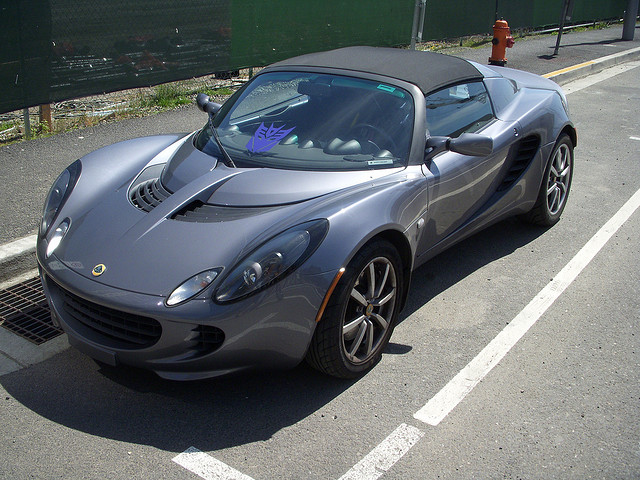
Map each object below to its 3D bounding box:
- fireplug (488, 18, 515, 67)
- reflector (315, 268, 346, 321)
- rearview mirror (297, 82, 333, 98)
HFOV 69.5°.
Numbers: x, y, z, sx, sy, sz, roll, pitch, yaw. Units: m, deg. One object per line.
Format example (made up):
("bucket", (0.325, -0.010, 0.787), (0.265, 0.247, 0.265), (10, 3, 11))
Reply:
("fireplug", (4.938, -5.404, 12.634), (0.685, 1.193, 0.530), (3, 24, 9))
("reflector", (0.069, 0.331, 2.847), (0.251, 0.289, 0.017), (-22, 30, -39))
("rearview mirror", (-0.033, -1.264, 3.861), (0.358, 0.105, 0.137), (17, 29, 36))
